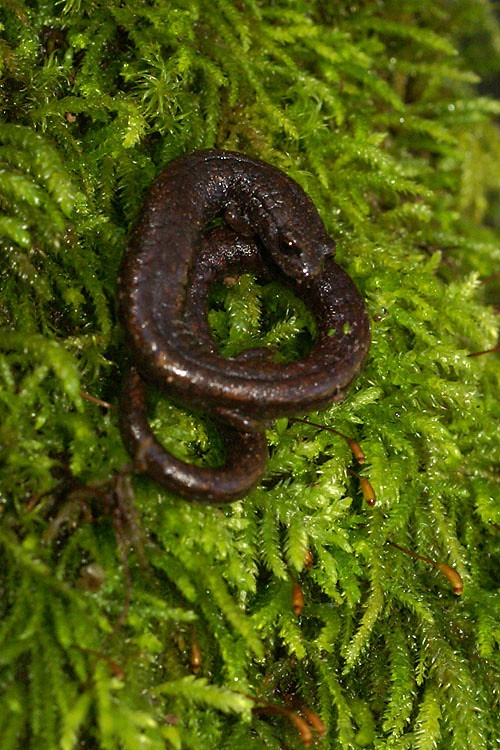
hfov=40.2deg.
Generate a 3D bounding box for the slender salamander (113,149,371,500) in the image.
[{"bbox_3d":[-0.015,-0.236,2.624,0.916,0.755,1.431,1,81,-1],"label":"slender salamander"}]
